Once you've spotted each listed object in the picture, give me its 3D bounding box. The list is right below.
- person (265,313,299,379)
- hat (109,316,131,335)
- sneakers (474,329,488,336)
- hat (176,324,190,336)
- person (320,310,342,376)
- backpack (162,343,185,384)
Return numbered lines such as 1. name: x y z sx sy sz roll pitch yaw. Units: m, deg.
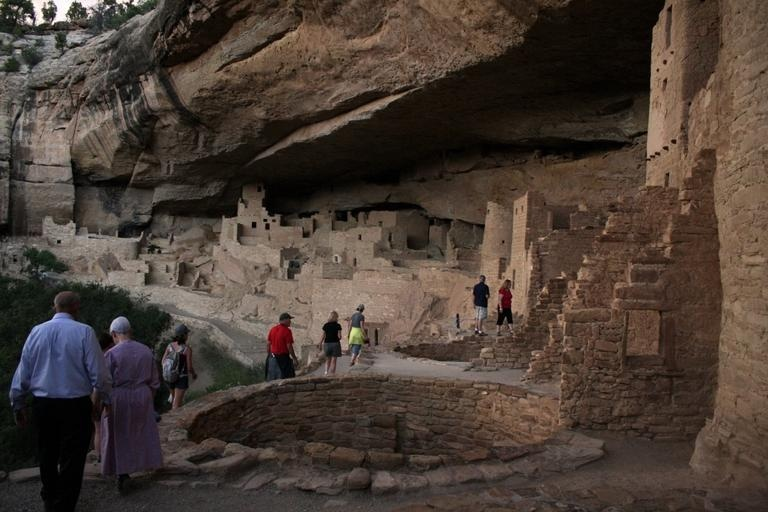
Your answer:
1. person: -2.094 1.879 14.601 0.649 1.595 0.637 6 16 28
2. hat: -4.304 1.132 11.331 0.264 0.175 0.349 1 3 -32
3. sneakers: 2.514 1.972 17.832 0.352 0.129 0.118 1 2 -17
4. hat: -3.921 1.444 13.540 0.292 0.137 0.216 -13 17 -43
5. person: -1.164 1.898 15.219 0.405 1.596 1.076 -4 14 -7
6. backpack: -4.169 2.157 13.751 0.454 0.641 0.421 10 9 33
